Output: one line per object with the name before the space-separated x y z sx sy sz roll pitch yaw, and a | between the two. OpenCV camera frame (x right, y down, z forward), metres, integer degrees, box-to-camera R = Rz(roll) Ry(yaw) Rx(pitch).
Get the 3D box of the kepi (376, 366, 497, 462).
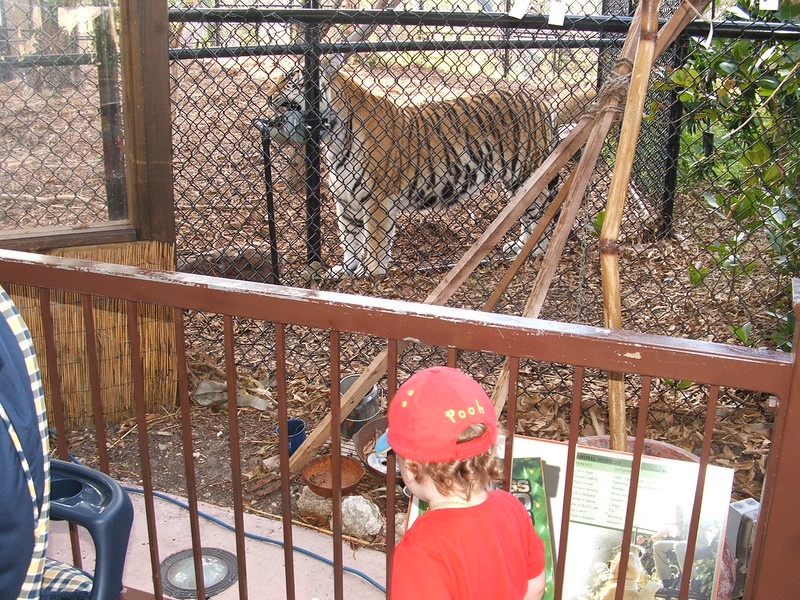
kepi | 0.095 0.296 1.971 0.244 0.148 0.259 -15 25 -22
